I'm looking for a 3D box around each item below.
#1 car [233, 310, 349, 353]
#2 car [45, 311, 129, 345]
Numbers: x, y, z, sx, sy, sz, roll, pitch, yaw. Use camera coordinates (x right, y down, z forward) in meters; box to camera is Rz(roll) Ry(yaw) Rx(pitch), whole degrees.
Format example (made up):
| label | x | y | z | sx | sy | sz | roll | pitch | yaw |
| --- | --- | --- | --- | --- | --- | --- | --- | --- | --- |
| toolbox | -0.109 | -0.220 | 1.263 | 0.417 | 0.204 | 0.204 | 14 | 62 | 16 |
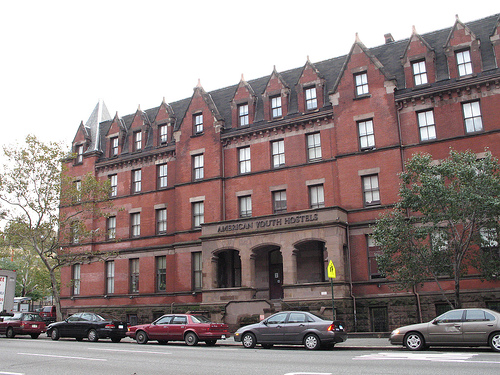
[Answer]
| label | x | y | z | sx | sy | sz | roll | pitch | yaw |
| --- | --- | --- | --- | --- | --- | --- | --- | --- | --- |
| car | 2.200 | 7.672 | 30.273 | 5.329 | 1.663 | 2.221 | -4 | -17 | 22 |
| car | -10.229 | 8.718 | 35.582 | 4.801 | 1.843 | 1.145 | -8 | -20 | 17 |
